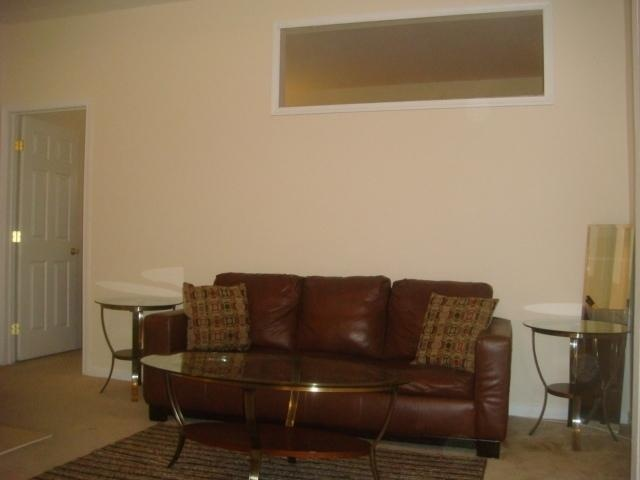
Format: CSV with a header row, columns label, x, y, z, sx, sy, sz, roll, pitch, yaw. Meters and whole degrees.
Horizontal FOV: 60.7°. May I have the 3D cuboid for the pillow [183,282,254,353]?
label,x,y,z,sx,sy,sz,roll,pitch,yaw
pillow,-0.782,0.603,4.124,0.507,0.541,0.088,0,-32,-15

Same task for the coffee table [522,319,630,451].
label,x,y,z,sx,sy,sz,roll,pitch,yaw
coffee table,1.780,0.971,3.902,0.664,0.810,0.614,5,8,37

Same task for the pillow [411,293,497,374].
label,x,y,z,sx,sy,sz,roll,pitch,yaw
pillow,0.919,0.631,3.761,0.491,0.500,0.153,0,-26,45

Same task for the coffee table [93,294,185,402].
label,x,y,z,sx,sy,sz,roll,pitch,yaw
coffee table,-1.650,0.833,4.695,0.757,0.847,0.810,1,-1,15
